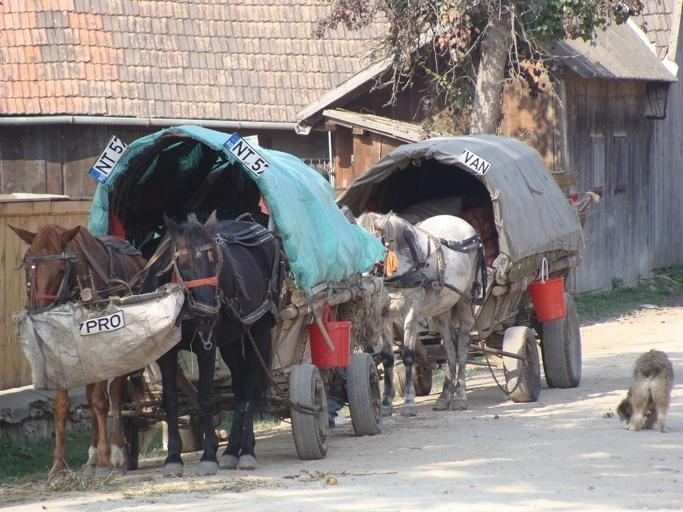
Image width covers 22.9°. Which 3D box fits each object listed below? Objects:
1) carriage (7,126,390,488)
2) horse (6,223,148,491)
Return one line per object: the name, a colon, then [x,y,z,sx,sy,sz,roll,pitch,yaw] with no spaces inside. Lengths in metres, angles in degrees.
carriage: [-2.259,1.341,25.366,3.412,6.559,7.721,0,9,5]
horse: [-3.107,0.794,23.844,1.122,3.540,4.621,-3,-6,9]
